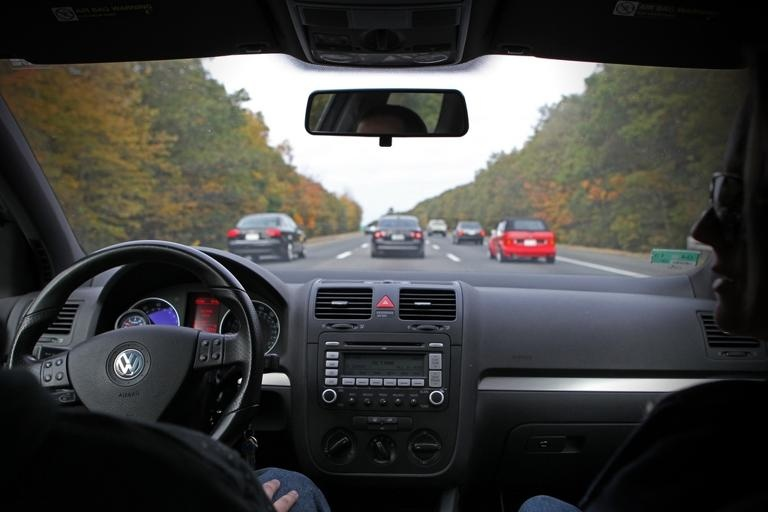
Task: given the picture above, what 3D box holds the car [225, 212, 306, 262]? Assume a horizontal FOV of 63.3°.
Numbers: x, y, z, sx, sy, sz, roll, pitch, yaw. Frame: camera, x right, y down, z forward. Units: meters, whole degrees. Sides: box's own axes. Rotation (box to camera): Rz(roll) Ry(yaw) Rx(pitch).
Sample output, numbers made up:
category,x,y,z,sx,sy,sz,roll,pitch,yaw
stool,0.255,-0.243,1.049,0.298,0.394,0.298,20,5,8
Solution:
category,x,y,z,sx,sy,sz,roll,pitch,yaw
car,-1.971,-0.355,11.361,0.777,0.681,1.922,0,2,7
